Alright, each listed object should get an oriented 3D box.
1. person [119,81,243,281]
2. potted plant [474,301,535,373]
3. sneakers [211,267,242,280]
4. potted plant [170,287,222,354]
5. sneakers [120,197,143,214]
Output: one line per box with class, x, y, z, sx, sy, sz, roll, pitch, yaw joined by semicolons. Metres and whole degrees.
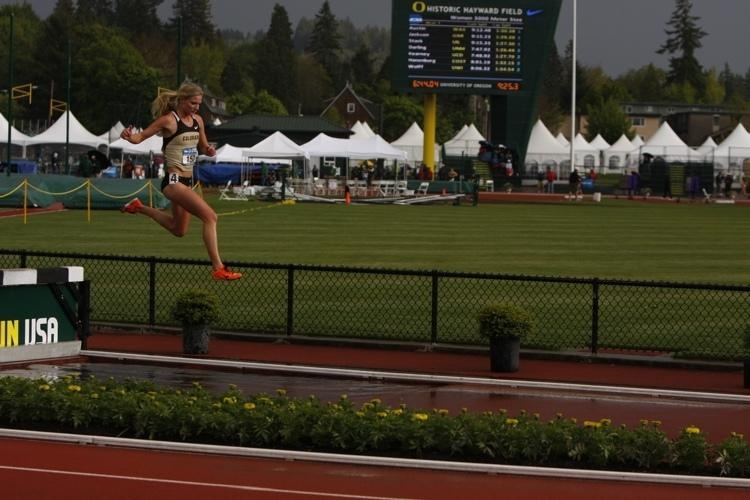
person;-3.386;-1.204;20.279;1.582;3.462;0.879;0;8;-8
potted plant;2.706;1.535;20.970;0.985;1.200;1.145;7;-1;26
sneakers;-2.644;0.403;20.546;0.560;0.244;0.209;1;4;5
potted plant;-3.309;1.315;21.242;0.865;1.136;0.386;0;8;-11
sneakers;-4.347;-0.772;20.673;0.272;0.220;0.636;28;-14;-15
